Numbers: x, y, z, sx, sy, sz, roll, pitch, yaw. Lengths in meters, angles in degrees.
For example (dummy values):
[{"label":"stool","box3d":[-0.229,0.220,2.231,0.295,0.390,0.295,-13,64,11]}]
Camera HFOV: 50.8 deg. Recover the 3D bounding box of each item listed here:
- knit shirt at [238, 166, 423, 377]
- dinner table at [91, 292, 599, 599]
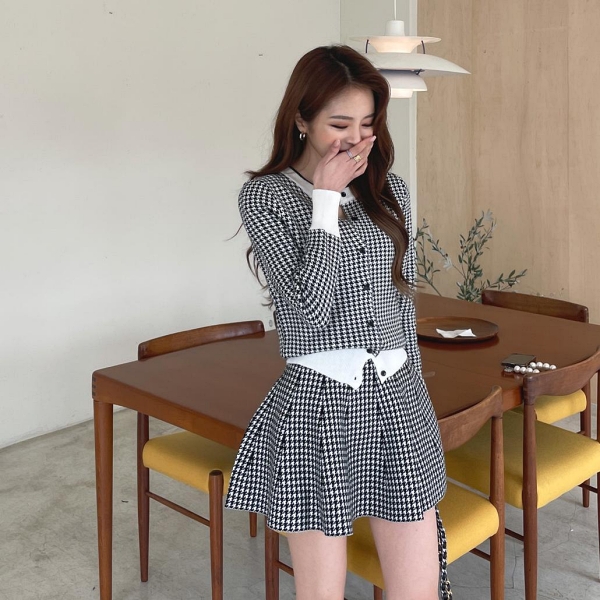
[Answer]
[{"label":"knit shirt","box3d":[0.068,-0.046,1.212,0.267,0.395,0.333,13,16,39]},{"label":"dinner table","box3d":[0.150,0.429,1.710,1.039,0.445,0.581,-8,10,-41]}]
